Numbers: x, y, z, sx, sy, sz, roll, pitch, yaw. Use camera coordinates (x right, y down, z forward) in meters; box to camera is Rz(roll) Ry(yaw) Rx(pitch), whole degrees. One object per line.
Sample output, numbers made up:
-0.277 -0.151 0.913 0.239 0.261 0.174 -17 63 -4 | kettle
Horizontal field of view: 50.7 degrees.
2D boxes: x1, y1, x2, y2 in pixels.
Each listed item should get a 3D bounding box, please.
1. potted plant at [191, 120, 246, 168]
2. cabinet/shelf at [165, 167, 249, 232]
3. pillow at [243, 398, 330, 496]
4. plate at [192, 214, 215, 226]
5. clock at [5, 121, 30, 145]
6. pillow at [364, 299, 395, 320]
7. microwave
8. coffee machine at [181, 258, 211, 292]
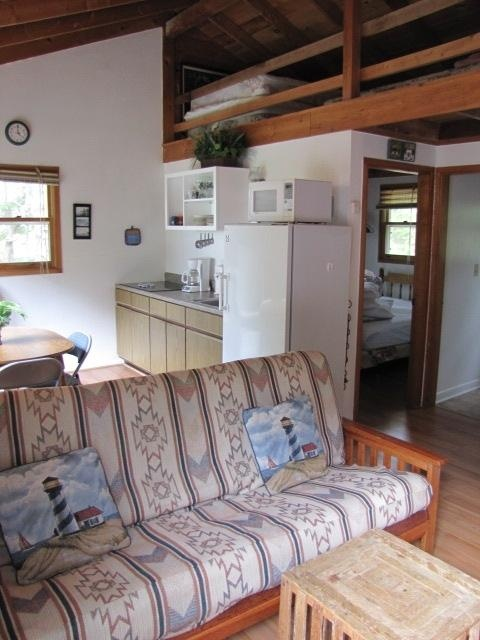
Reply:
-0.202 -1.545 4.508 0.476 0.384 0.557 -13 29 -30 | potted plant
-0.426 -1.204 5.177 0.397 0.744 1.676 -2 3 -26 | cabinet/shelf
0.202 0.542 2.302 0.525 0.457 0.099 9 -31 -21 | pillow
-0.353 -0.939 4.877 0.177 0.060 0.147 0 7 -12 | plate
-2.123 -1.784 4.831 0.237 0.230 0.061 -3 4 -43 | clock
1.591 -0.110 5.803 0.268 0.090 0.312 2 8 32 | pillow
0.349 -0.833 3.588 0.384 0.271 0.525 -8 15 -38 | microwave
-0.447 -0.455 5.273 0.371 0.440 0.305 -2 8 -32 | coffee machine
